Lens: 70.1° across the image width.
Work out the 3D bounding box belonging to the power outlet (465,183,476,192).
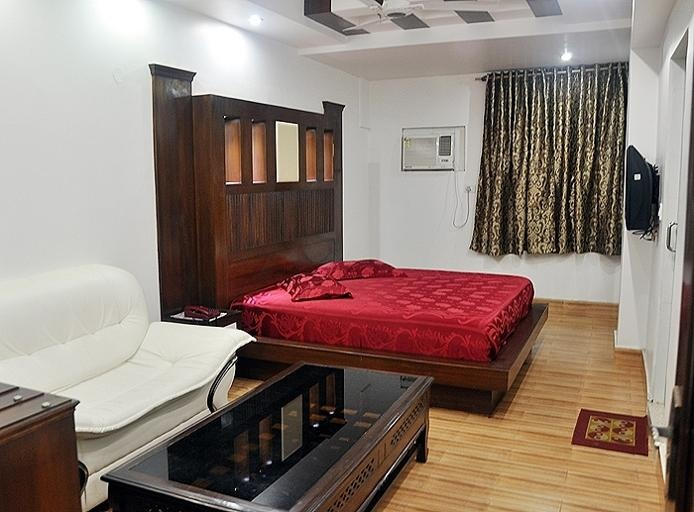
[{"bbox_3d":[1.690,-0.912,6.727,0.151,0.106,0.079,2,4,31],"label":"power outlet"}]

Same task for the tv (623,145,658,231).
[{"bbox_3d":[2.489,-0.548,4.168,0.261,0.729,0.250,6,13,31],"label":"tv"}]

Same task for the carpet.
[{"bbox_3d":[1.809,1.187,3.390,0.443,0.029,0.629,5,12,29],"label":"carpet"}]

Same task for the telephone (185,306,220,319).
[{"bbox_3d":[-1.157,0.452,3.949,0.167,0.058,0.130,3,6,15],"label":"telephone"}]
